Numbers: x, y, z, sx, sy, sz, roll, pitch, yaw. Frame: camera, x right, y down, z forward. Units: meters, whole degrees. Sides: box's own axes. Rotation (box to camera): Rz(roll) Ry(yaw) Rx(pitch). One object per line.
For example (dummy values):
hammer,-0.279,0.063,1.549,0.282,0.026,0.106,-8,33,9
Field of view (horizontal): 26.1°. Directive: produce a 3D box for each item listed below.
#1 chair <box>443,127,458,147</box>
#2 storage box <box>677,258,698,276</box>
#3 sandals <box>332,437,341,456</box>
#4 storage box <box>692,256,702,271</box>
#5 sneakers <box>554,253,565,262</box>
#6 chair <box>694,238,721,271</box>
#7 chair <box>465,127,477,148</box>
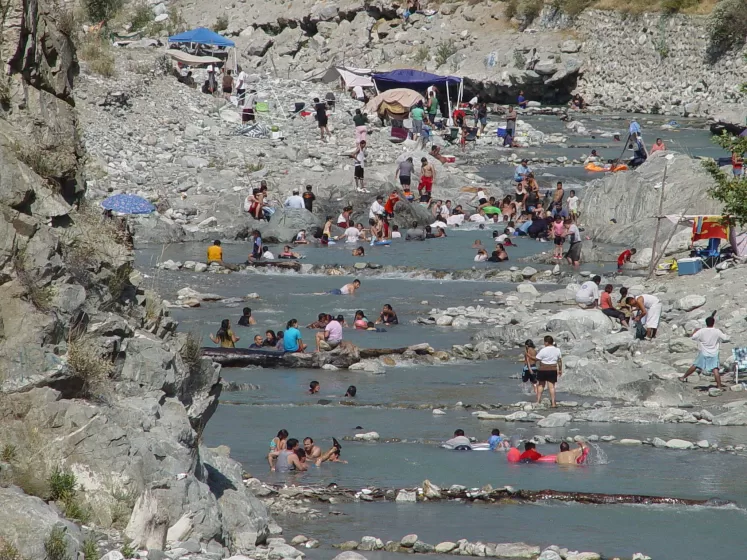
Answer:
chair,3.138,-6.063,65.635,0.730,0.764,0.749,0,85,0
storage box,8.344,-0.428,42.567,0.387,0.550,0.282,-2,94,16
sandals,-0.742,3.364,32.741,0.112,0.159,0.399,-10,54,-26
storage box,8.550,-0.504,42.610,0.265,0.409,0.286,1,96,15
sneakers,5.260,-0.727,45.818,0.213,0.404,0.152,0,95,2
chair,8.941,-0.771,42.918,0.656,0.645,0.909,-1,92,-2
chair,3.991,-6.148,66.671,0.684,0.719,0.915,0,94,-11
